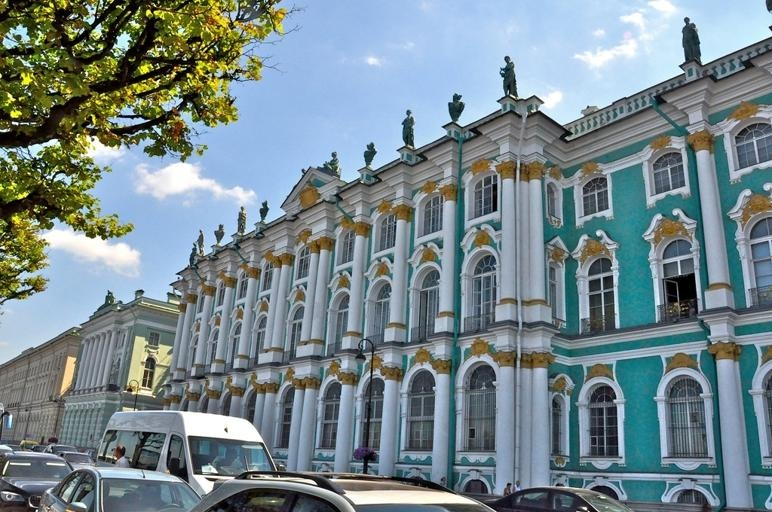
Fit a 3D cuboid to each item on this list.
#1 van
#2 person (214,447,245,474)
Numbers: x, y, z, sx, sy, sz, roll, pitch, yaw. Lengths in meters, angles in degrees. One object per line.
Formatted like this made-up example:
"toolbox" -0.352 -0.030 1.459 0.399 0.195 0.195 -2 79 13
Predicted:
"van" -6.322 6.343 19.871 6.601 2.827 3.059 -3 -17 45
"person" -4.544 5.958 18.255 0.617 0.808 0.712 15 -30 -28
